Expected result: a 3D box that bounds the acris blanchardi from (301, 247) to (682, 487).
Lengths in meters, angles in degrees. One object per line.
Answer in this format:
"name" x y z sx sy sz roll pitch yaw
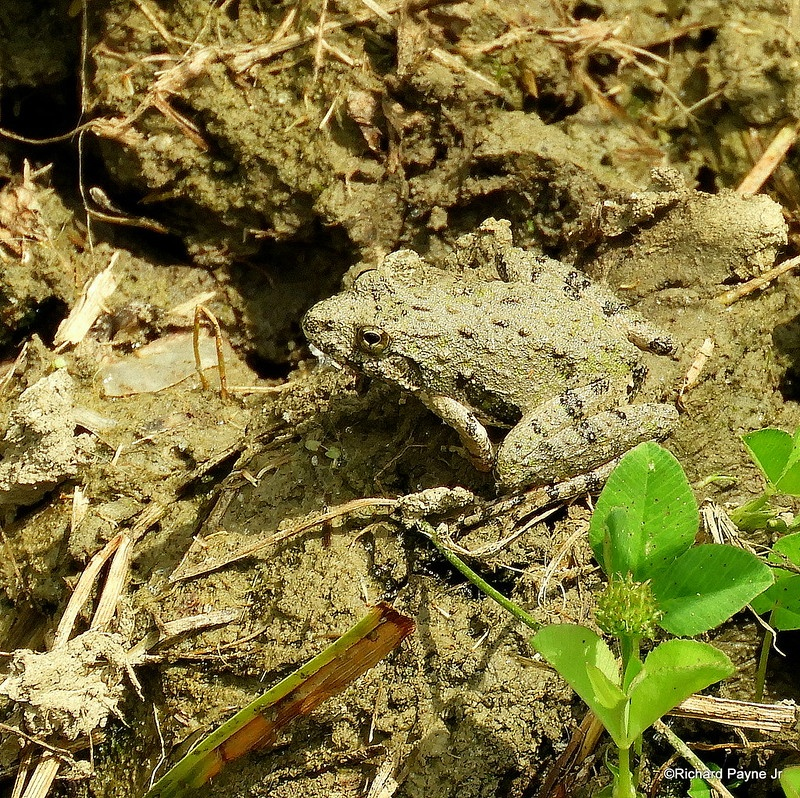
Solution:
"acris blanchardi" 0.414 -0.156 4.160 1.398 0.795 0.782 -1 30 16
